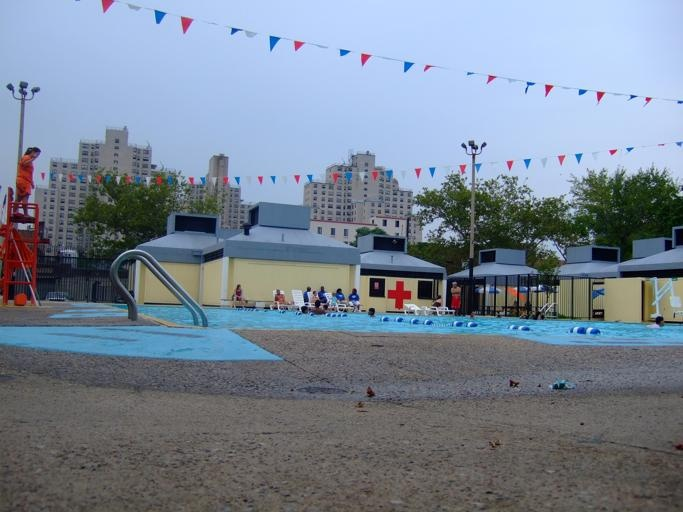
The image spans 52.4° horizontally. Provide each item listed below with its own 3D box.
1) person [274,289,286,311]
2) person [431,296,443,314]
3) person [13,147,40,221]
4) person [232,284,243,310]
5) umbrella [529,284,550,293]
[{"bbox_3d":[-2.648,1.920,29.775,0.479,0.722,0.808,1,-3,-18],"label":"person"},{"bbox_3d":[4.730,2.482,34.471,0.482,1.321,0.429,2,-9,12],"label":"person"},{"bbox_3d":[-9.957,-2.375,21.900,0.608,1.639,0.824,2,-2,-24],"label":"person"},{"bbox_3d":[-4.443,1.720,29.719,0.436,0.987,0.828,2,-2,-8],"label":"person"},{"bbox_3d":[8.859,1.460,30.670,0.866,0.378,5.435,1,-2,16],"label":"umbrella"}]
